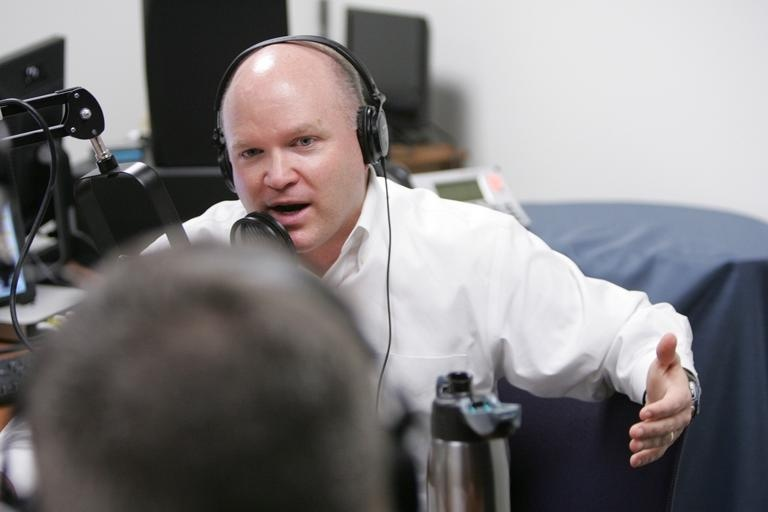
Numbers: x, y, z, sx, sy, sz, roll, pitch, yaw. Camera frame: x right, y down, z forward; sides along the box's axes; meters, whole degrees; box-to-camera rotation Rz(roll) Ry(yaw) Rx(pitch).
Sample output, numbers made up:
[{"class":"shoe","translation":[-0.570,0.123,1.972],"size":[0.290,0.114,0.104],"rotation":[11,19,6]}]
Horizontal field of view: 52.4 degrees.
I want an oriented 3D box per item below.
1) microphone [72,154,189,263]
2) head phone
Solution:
[{"class":"microphone","translation":[-0.478,-0.087,1.381],"size":[0.124,0.137,0.042],"rotation":[-8,3,-5]},{"class":"head phone","translation":[-0.164,-0.267,1.493],"size":[0.366,0.325,0.127],"rotation":[-14,-2,-14]}]
